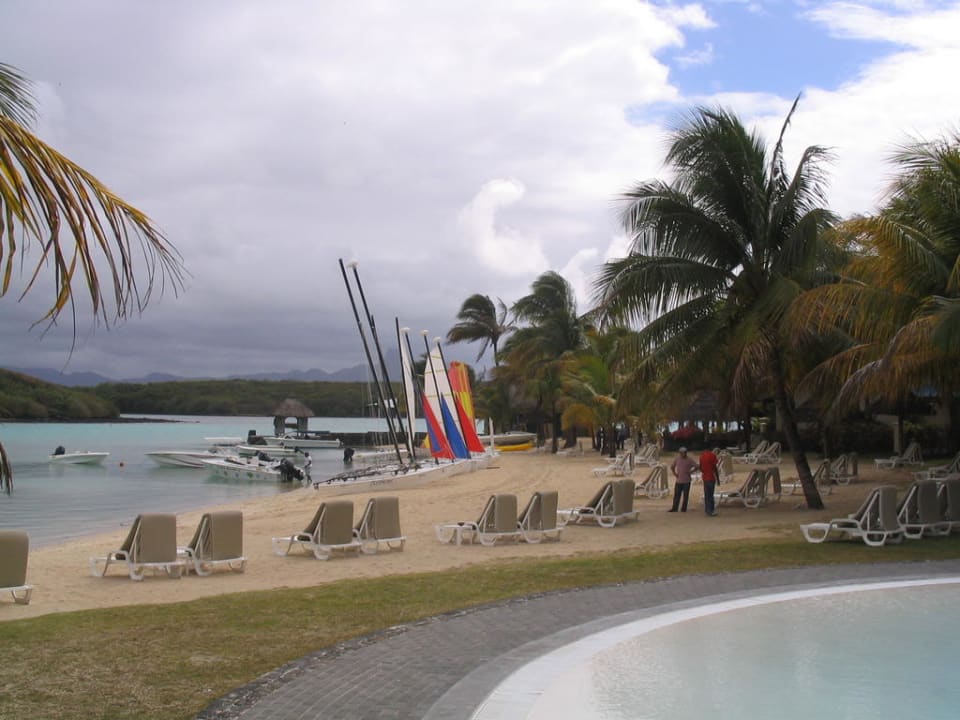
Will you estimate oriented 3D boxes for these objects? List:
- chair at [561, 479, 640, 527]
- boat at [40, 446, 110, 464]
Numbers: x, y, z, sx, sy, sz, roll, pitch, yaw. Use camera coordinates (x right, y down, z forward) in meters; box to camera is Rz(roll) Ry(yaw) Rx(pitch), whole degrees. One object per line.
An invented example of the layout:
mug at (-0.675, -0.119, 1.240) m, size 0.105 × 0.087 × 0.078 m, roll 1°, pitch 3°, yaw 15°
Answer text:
chair at (2.460, 3.148, 18.356) m, size 1.422 × 0.939 × 1.035 m, roll -4°, pitch -7°, yaw 39°
boat at (-28.240, 6.646, 59.517) m, size 3.358 × 1.394 × 1.300 m, roll -1°, pitch -4°, yaw -5°
